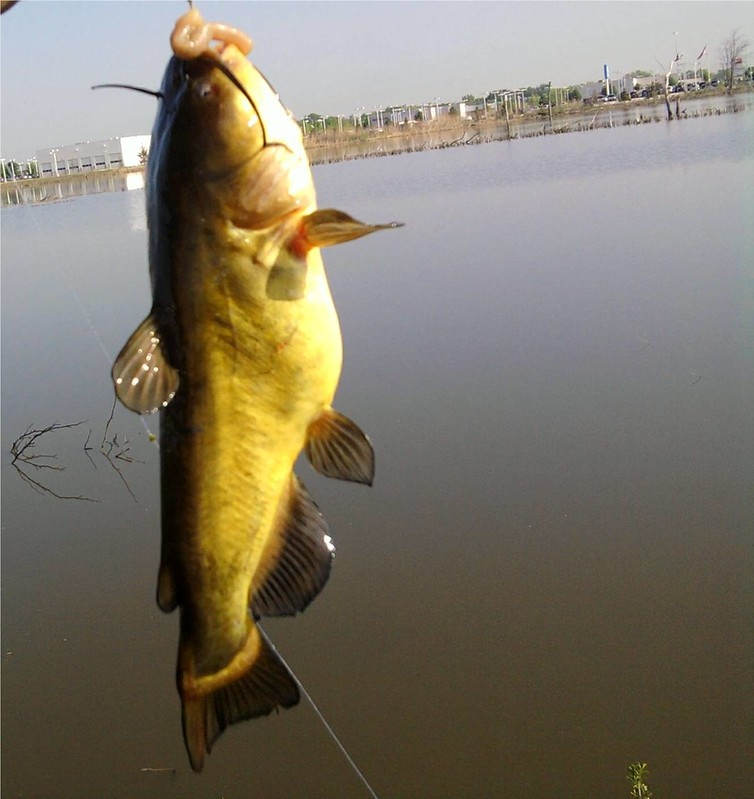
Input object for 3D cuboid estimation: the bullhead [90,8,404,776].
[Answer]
[{"bbox_3d":[-0.046,0.000,0.391,0.129,0.349,0.125,12,29,11],"label":"bullhead"}]
